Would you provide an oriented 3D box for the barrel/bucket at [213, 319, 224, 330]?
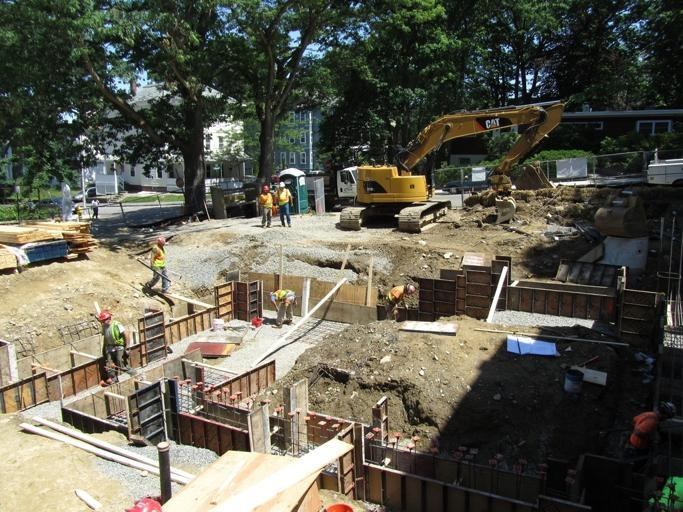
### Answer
[{"bbox_3d":[-3.891,2.155,18.638,0.320,0.286,0.326,-1,1,0],"label":"barrel/bucket"}]

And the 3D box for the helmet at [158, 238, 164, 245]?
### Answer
[{"bbox_3d":[-6.039,-0.482,19.687,0.189,0.233,0.545,-3,9,-16],"label":"helmet"}]

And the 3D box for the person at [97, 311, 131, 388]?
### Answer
[{"bbox_3d":[-6.002,2.374,15.452,0.723,1.771,0.959,-3,9,-21],"label":"person"}]

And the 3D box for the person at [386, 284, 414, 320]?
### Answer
[{"bbox_3d":[1.764,1.303,18.199,0.769,1.191,2.116,0,8,4],"label":"person"}]

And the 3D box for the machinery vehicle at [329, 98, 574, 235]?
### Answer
[{"bbox_3d":[4.544,-3.564,24.307,8.177,4.659,3.969,4,10,24],"label":"machinery vehicle"}]

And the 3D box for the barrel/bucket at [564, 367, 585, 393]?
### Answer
[{"bbox_3d":[5.200,2.780,13.227,0.382,0.439,0.540,7,11,42],"label":"barrel/bucket"}]

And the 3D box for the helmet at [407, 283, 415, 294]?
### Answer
[{"bbox_3d":[2.017,0.948,17.220,0.259,0.257,0.157,0,-14,9],"label":"helmet"}]

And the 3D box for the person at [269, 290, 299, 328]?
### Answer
[{"bbox_3d":[-1.905,1.662,19.182,0.852,1.093,0.735,11,8,44],"label":"person"}]

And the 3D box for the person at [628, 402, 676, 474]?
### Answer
[{"bbox_3d":[5.944,3.323,11.485,1.315,0.925,0.332,-43,18,-14],"label":"person"}]

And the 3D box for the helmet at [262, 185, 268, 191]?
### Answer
[{"bbox_3d":[-3.191,-2.842,24.873,0.353,0.193,0.565,-3,11,-15],"label":"helmet"}]

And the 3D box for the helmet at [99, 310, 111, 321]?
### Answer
[{"bbox_3d":[-6.304,1.581,15.640,0.277,0.150,0.372,-25,29,-29],"label":"helmet"}]
